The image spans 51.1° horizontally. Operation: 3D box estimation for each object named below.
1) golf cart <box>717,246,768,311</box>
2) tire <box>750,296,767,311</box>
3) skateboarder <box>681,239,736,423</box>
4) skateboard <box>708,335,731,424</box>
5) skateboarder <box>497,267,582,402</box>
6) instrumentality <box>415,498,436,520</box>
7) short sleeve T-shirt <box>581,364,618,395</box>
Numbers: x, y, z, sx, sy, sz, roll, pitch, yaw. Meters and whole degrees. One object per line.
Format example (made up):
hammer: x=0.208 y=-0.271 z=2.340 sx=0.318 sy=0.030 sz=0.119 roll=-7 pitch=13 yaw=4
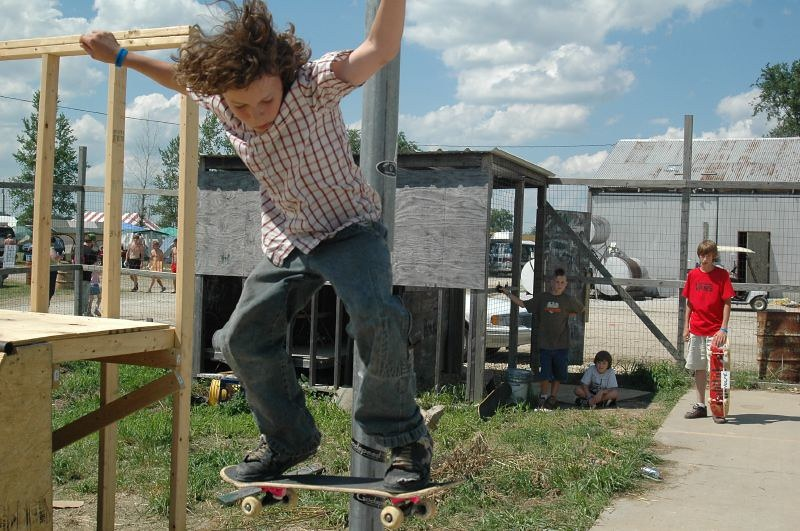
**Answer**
golf cart: x=7.804 y=0.174 z=18.938 sx=1.558 sy=1.500 sz=0.590 roll=2 pitch=-9 yaw=7
tire: x=9.767 y=1.018 z=22.708 sx=0.441 sy=0.457 sz=0.162 roll=1 pitch=5 yaw=29
skateboarder: x=3.983 y=0.789 z=10.957 sx=0.725 sy=2.230 sz=0.674 roll=0 pitch=0 yaw=42
skateboard: x=4.099 y=1.474 z=10.773 sx=0.254 sy=1.053 sz=0.332 roll=0 pitch=-2 yaw=19
skateboarder: x=2.018 y=0.994 z=12.264 sx=0.994 sy=2.168 sz=0.994 roll=1 pitch=0 yaw=17
instrumentality: x=0.200 y=1.861 z=6.454 sx=0.156 sy=0.161 sz=0.084 roll=1 pitch=-2 yaw=2
short sleeve T-shirt: x=2.859 y=1.604 z=12.061 sx=0.616 sy=0.603 sz=0.322 roll=-2 pitch=-7 yaw=24
